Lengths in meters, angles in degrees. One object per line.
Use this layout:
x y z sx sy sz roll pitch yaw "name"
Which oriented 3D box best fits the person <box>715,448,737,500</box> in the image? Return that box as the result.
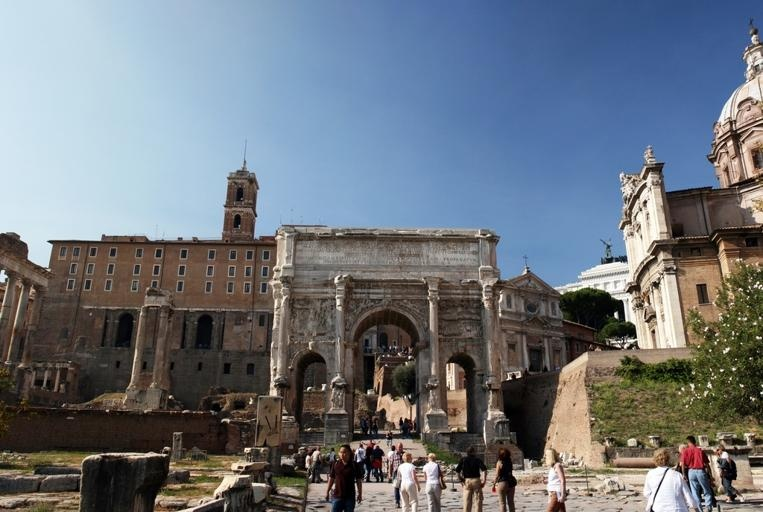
11.818 7.409 17.924 0.535 1.671 1.027 -12 -23 29 "person"
